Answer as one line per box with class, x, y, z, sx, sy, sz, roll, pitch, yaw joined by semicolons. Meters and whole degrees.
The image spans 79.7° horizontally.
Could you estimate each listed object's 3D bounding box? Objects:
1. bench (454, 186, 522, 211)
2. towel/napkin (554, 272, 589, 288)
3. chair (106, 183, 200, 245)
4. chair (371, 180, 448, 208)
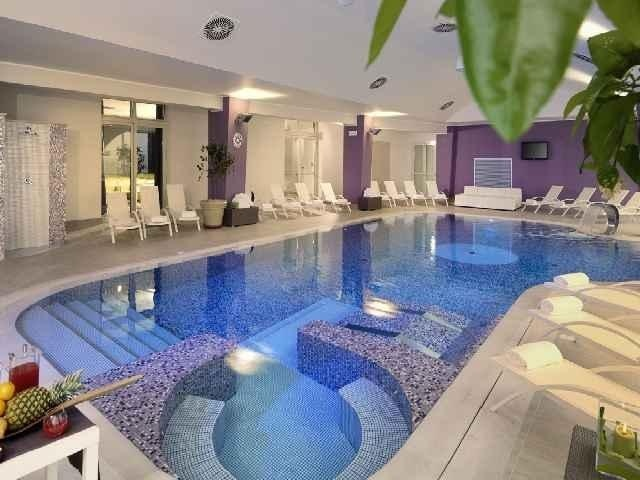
bench;8.419;-1.994;18.252;3.856;1.073;1.744;6;9;40
towel/napkin;3.661;0.574;5.716;0.313;0.109;0.249;-5;6;-24
chair;-4.475;-0.781;10.120;1.866;1.265;2.548;-5;12;-12
chair;3.724;-2.240;18.935;4.078;1.619;2.426;-3;8;-33
